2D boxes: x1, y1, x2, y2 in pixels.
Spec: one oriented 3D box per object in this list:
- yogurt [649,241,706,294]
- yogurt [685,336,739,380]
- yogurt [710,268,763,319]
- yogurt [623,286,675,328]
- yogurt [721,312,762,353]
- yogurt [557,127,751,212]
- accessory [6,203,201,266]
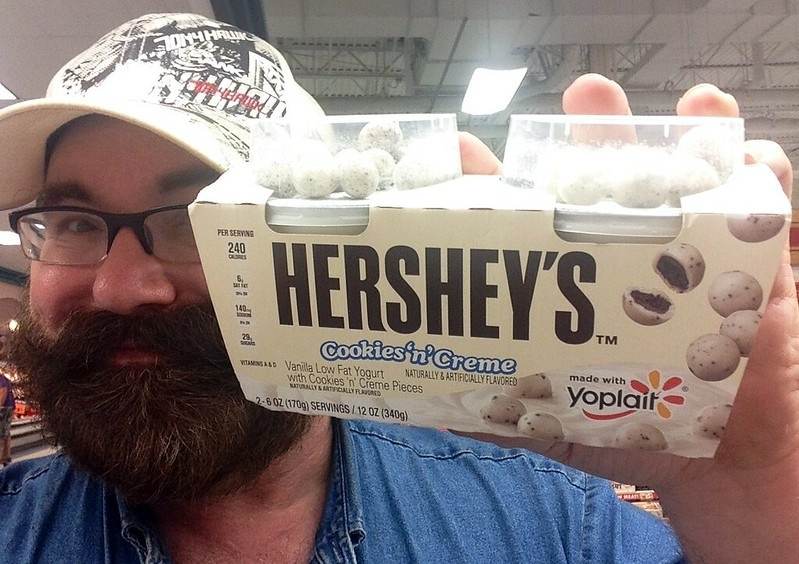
[{"bbox_3d":[0.500,-0.024,1.265,0.061,0.084,0.076,-34,10,-35],"label":"yogurt"},{"bbox_3d":[0.548,0.127,1.245,0.082,0.080,0.044,20,1,14],"label":"yogurt"},{"bbox_3d":[0.577,0.019,1.220,0.088,0.075,0.076,11,-13,3],"label":"yogurt"},{"bbox_3d":[0.430,0.043,1.242,0.073,0.044,0.070,-15,37,-40],"label":"yogurt"},{"bbox_3d":[0.590,0.088,1.230,0.065,0.072,0.062,0,0,19],"label":"yogurt"},{"bbox_3d":[0.443,-0.207,1.265,0.330,0.143,0.075,-2,12,-4],"label":"yogurt"},{"bbox_3d":[-0.641,-0.102,1.457,0.225,0.059,0.228,-1,-8,-1],"label":"accessory"}]
